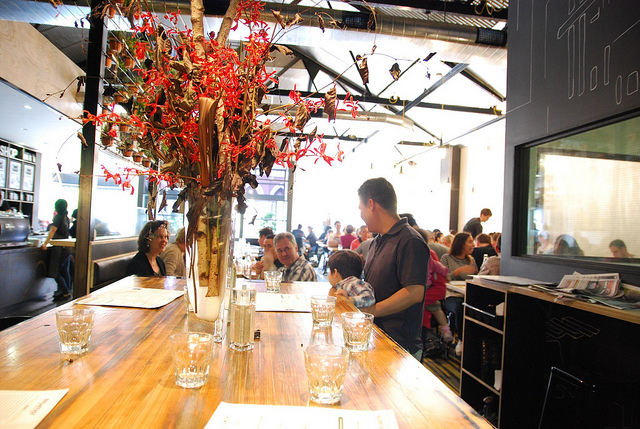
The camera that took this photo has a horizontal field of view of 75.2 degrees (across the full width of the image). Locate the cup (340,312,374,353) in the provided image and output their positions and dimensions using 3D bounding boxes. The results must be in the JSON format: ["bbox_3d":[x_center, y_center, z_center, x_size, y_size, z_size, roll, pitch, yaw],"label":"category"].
[{"bbox_3d":[0.186,0.556,2.001,0.137,0.170,0.150,1,-3,0],"label":"cup"}]

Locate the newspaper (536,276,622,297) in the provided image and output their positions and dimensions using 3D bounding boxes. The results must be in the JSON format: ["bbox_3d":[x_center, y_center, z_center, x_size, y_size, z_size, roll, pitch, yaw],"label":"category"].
[{"bbox_3d":[1.852,0.472,2.941,0.368,0.103,0.472,0,1,-26],"label":"newspaper"}]

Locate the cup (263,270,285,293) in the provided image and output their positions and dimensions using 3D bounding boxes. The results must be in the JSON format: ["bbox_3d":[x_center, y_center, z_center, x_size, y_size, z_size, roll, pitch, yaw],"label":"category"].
[{"bbox_3d":[-0.306,0.457,2.821,0.139,0.120,0.131,0,-3,0],"label":"cup"}]

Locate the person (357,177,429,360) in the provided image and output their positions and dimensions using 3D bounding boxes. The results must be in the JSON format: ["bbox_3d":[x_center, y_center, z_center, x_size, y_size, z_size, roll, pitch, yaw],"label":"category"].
[{"bbox_3d":[0.501,0.404,2.906,0.507,1.383,0.893,0,-2,11],"label":"person"}]

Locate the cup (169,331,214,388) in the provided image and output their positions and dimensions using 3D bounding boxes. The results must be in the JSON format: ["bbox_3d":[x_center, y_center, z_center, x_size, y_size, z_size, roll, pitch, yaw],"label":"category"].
[{"bbox_3d":[-0.507,0.575,1.702,0.190,0.211,0.191,0,4,0],"label":"cup"}]

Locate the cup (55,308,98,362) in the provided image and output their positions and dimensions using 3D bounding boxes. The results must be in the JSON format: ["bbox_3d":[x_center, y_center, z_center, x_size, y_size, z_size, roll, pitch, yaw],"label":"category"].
[{"bbox_3d":[-1.046,0.495,1.827,0.192,0.225,0.193,1,1,0],"label":"cup"}]

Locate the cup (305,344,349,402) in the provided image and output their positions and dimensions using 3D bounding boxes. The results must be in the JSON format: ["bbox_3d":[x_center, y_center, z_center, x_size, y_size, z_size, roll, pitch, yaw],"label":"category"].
[{"bbox_3d":[0.032,0.646,1.695,0.158,0.179,0.159,-4,-7,0],"label":"cup"}]

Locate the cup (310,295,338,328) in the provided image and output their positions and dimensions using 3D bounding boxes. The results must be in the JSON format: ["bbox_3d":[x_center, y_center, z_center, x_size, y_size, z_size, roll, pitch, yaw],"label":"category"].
[{"bbox_3d":[0.015,0.490,2.140,0.145,0.132,0.137,1,-3,0],"label":"cup"}]

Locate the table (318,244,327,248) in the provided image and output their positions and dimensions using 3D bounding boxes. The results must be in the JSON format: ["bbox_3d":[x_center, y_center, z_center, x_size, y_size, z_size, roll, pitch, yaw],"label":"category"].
[{"bbox_3d":[0.070,0.841,11.185,0.201,0.084,0.878,1,-3,-2],"label":"table"}]
